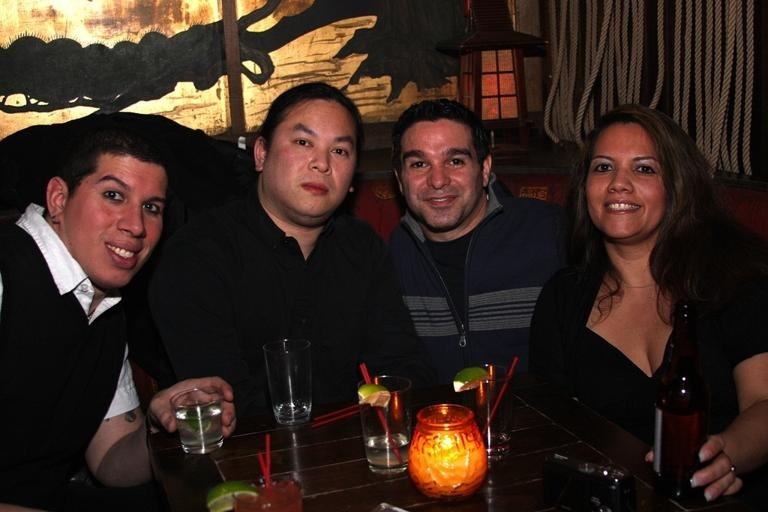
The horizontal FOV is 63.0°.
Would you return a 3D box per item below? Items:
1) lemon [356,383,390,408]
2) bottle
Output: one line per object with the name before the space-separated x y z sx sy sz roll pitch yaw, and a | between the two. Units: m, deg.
lemon | -0.029 0.425 1.913 0.145 0.054 0.134 1 0 -1
bottle | 0.841 0.403 1.768 0.132 0.502 0.215 2 15 26
